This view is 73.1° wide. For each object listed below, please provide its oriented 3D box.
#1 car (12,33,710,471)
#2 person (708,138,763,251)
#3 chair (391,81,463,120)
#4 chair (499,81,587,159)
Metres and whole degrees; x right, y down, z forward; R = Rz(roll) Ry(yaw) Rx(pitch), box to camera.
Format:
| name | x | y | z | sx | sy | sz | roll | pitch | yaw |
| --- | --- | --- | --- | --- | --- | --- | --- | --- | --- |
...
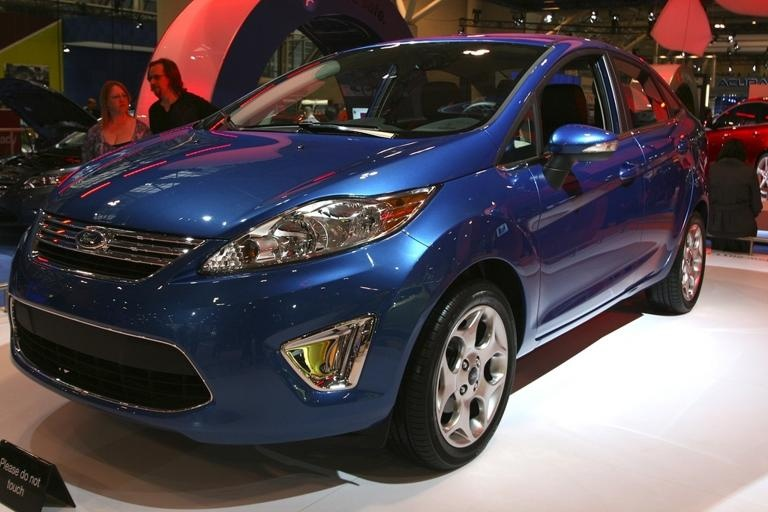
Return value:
| name | x | y | z | sx | sy | sz | roll | pitch | yaw |
| --- | --- | --- | --- | --- | --- | --- | --- | --- | --- |
| car | 0.273 | -0.198 | 2.619 | 2.051 | 1.189 | 3.160 | 5 | 8 | 44 |
| person | 3.839 | -0.675 | 5.653 | 0.491 | 1.089 | 0.605 | 8 | 23 | 17 |
| chair | 0.213 | -0.878 | 2.953 | 0.287 | 0.306 | 0.373 | -11 | 18 | -26 |
| chair | 1.066 | -0.746 | 2.978 | 0.367 | 0.371 | 0.209 | -18 | 9 | 37 |
